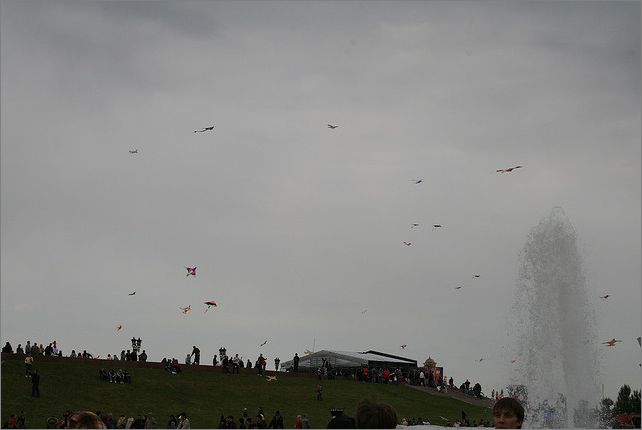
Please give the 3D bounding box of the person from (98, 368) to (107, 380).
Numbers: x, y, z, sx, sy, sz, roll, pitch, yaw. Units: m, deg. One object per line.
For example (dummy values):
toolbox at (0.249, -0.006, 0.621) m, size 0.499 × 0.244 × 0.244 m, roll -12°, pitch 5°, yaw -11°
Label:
person at (-16.513, 12.039, 87.140) m, size 0.659 × 0.819 × 1.396 m, roll 6°, pitch 3°, yaw -10°

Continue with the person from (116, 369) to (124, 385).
person at (-15.236, 12.357, 86.909) m, size 0.632 × 0.721 × 1.219 m, roll 1°, pitch 26°, yaw -6°

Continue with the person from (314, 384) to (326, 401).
person at (-0.098, 14.092, 90.476) m, size 0.445 × 0.473 × 1.053 m, roll 12°, pitch 29°, yaw -2°

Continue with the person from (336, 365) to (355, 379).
person at (2.334, 14.876, 108.357) m, size 1.757 × 0.648 × 1.290 m, roll 6°, pitch 1°, yaw 29°

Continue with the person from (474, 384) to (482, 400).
person at (13.471, 15.096, 98.445) m, size 0.686 × 1.030 × 1.703 m, roll 7°, pitch 3°, yaw 6°
